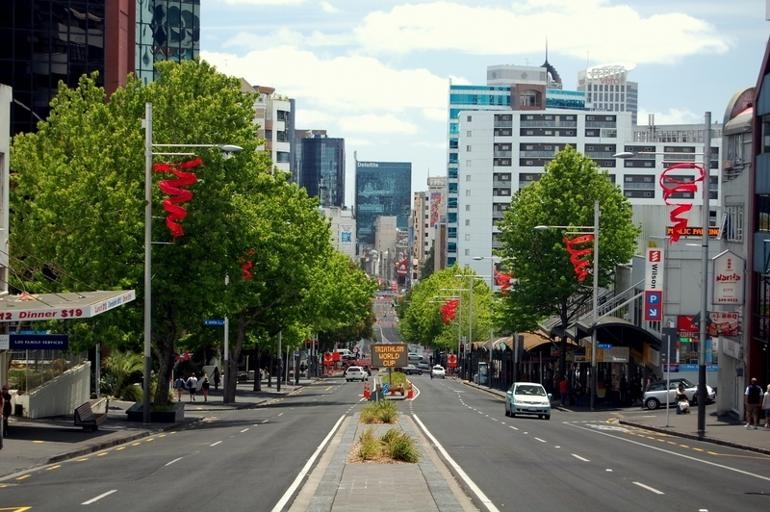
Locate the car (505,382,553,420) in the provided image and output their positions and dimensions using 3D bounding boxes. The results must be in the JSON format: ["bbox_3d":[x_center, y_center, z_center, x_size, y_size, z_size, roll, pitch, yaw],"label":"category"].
[{"bbox_3d":[9.009,9.091,76.965,2.594,2.315,2.740,1,-7,-8],"label":"car"}]

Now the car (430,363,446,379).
[{"bbox_3d":[6.712,14.673,154.965,1.584,1.489,2.802,1,3,1],"label":"car"}]

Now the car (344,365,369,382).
[{"bbox_3d":[-3.121,12.906,133.902,2.173,1.892,5.902,1,-8,-3],"label":"car"}]

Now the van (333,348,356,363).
[{"bbox_3d":[-5.883,15.322,186.226,2.709,1.740,1.698,-7,3,-2],"label":"van"}]
